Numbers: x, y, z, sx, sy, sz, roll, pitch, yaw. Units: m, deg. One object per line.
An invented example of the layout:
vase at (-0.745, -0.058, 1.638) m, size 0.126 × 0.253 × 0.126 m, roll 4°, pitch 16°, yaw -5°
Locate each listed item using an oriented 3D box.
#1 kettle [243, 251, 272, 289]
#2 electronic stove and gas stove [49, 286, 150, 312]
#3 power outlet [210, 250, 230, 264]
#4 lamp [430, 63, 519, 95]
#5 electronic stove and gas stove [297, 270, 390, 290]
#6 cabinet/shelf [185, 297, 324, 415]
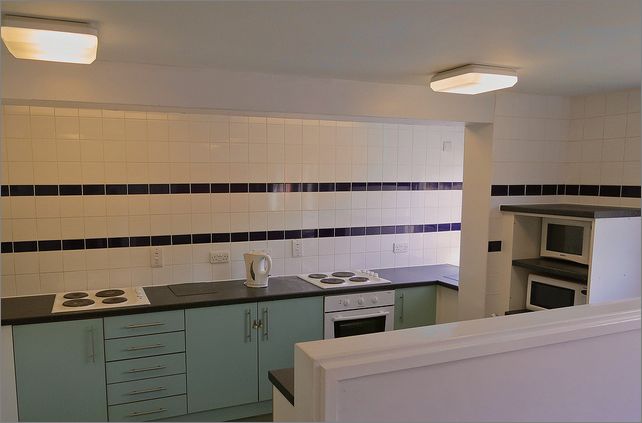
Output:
kettle at (-0.587, 0.529, 4.425) m, size 0.260 × 0.327 × 0.204 m, roll -1°, pitch 3°, yaw 0°
electronic stove and gas stove at (-1.830, 0.728, 3.968) m, size 0.760 × 0.073 × 0.514 m, roll -2°, pitch 3°, yaw -18°
power outlet at (-0.965, 0.422, 4.503) m, size 0.137 × 0.088 × 0.021 m, roll -1°, pitch 3°, yaw -23°
lamp at (1.156, -0.937, 3.614) m, size 0.521 × 0.111 × 0.499 m, roll 17°, pitch -9°, yaw -30°
electronic stove and gas stove at (0.223, 0.655, 4.653) m, size 0.808 × 0.065 × 0.556 m, roll -2°, pitch 3°, yaw -20°
cabinet/shelf at (-0.599, 1.117, 3.688) m, size 1.267 × 0.851 × 0.445 m, roll -1°, pitch 0°, yaw -20°
